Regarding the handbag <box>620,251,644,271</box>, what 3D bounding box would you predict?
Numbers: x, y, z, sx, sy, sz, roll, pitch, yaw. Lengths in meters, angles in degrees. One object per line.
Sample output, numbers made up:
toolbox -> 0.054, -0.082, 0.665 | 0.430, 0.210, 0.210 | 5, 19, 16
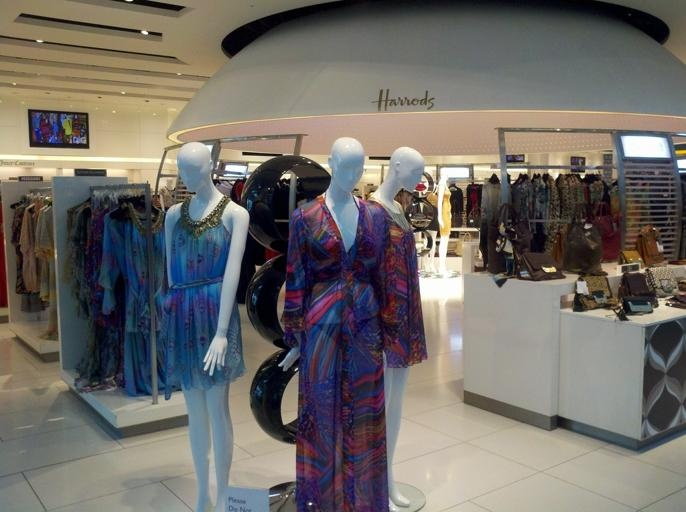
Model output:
handbag -> 2.735, 0.051, 4.582 | 0.156, 0.164, 0.086 | -4, -1, -33

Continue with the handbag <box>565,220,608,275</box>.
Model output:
handbag -> 2.107, -0.078, 4.228 | 0.250, 0.446, 0.248 | -4, 7, -15

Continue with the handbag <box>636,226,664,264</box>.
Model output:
handbag -> 3.157, -0.115, 4.963 | 0.311, 0.379, 0.223 | -9, 9, -42

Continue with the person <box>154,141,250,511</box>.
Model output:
person -> -0.773, 0.437, 2.667 | 0.520, 2.080, 0.352 | 0, 6, 23

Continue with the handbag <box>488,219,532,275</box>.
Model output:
handbag -> 1.451, -0.082, 4.243 | 0.408, 0.609, 0.399 | 1, -5, 8

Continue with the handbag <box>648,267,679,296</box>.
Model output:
handbag -> 2.813, 0.229, 4.317 | 0.256, 0.282, 0.075 | -9, -9, -28

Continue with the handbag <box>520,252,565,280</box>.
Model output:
handbag -> 1.660, 0.080, 4.018 | 0.364, 0.219, 0.270 | 0, 8, 16

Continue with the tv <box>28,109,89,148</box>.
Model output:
tv -> -8.121, -3.597, 13.641 | 1.065, 0.810, 0.076 | -1, 2, -28
